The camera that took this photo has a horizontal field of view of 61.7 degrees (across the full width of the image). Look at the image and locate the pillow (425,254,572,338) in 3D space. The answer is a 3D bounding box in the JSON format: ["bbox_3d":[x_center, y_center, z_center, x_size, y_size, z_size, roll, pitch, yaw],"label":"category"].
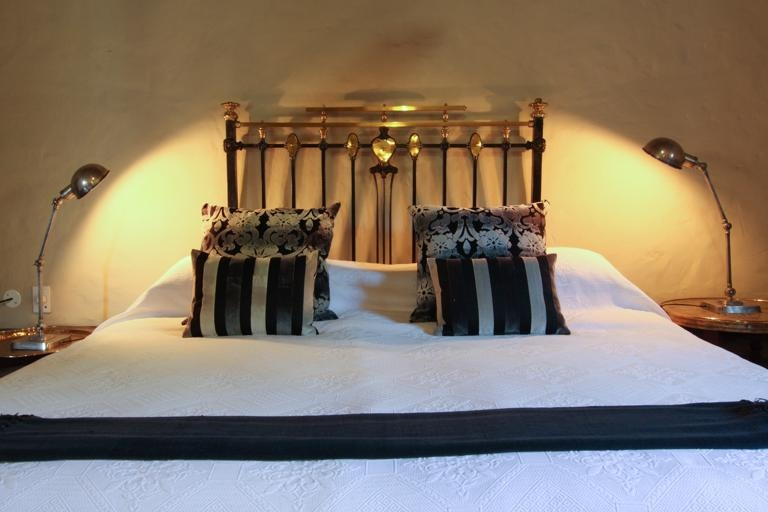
[{"bbox_3d":[0.463,0.147,2.673,0.597,0.344,0.169,1,-23,-15],"label":"pillow"}]

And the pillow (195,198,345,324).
[{"bbox_3d":[-0.578,0.038,2.875,0.788,0.537,0.280,2,24,-34],"label":"pillow"}]

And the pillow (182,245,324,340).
[{"bbox_3d":[-0.531,0.160,2.647,0.588,0.354,0.191,1,9,4],"label":"pillow"}]

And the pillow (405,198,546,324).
[{"bbox_3d":[0.395,0.037,2.710,0.592,0.403,0.195,-1,-2,-2],"label":"pillow"}]
